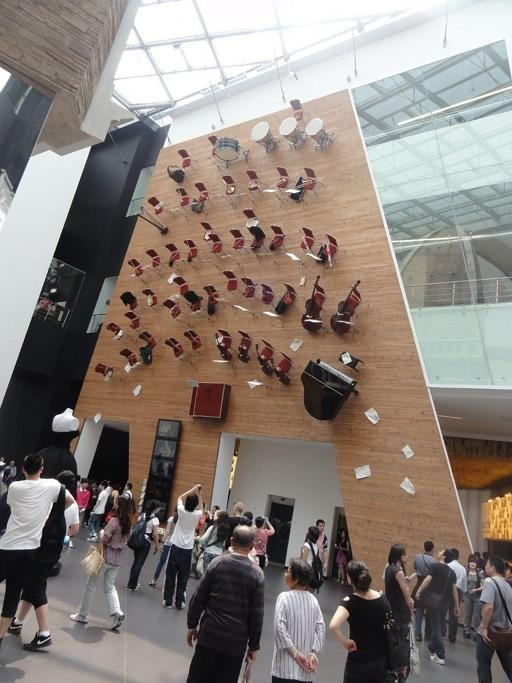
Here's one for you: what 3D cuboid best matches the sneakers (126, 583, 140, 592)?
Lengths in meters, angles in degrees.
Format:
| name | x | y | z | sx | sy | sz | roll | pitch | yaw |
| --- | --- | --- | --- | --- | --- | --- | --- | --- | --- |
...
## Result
| name | x | y | z | sx | sy | sz | roll | pitch | yaw |
| --- | --- | --- | --- | --- | --- | --- | --- | --- | --- |
| sneakers | -1.736 | 3.465 | 5.927 | 0.180 | 0.077 | 0.067 | 10 | -22 | 8 |

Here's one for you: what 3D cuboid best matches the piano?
| name | x | y | z | sx | sy | sz | roll | pitch | yaw |
| --- | --- | --- | --- | --- | --- | --- | --- | --- | --- |
| piano | 1.430 | 0.950 | 8.408 | 1.033 | 1.113 | 0.630 | 3 | -21 | 13 |

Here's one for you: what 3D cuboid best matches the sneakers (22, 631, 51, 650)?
| name | x | y | z | sx | sy | sz | roll | pitch | yaw |
| --- | --- | --- | --- | --- | --- | --- | --- | --- | --- |
| sneakers | -1.608 | 2.194 | 3.099 | 0.185 | 0.123 | 0.184 | 14 | -21 | -16 |

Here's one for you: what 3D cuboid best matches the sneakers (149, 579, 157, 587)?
| name | x | y | z | sx | sy | sz | roll | pitch | yaw |
| --- | --- | --- | --- | --- | --- | --- | --- | --- | --- |
| sneakers | -1.589 | 3.701 | 6.437 | 0.117 | 0.107 | 0.053 | -1 | -17 | 34 |

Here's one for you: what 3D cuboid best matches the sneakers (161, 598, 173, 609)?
| name | x | y | z | sx | sy | sz | roll | pitch | yaw |
| --- | --- | --- | --- | --- | --- | --- | --- | --- | --- |
| sneakers | -1.151 | 3.373 | 5.405 | 0.143 | 0.091 | 0.082 | -6 | -24 | 19 |

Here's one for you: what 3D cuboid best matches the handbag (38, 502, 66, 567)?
| name | x | y | z | sx | sy | sz | roll | pitch | yaw |
| --- | --- | --- | --- | --- | --- | --- | --- | --- | --- |
| handbag | -1.526 | 1.466 | 3.190 | 0.109 | 0.436 | 0.243 | 2 | -22 | 17 |

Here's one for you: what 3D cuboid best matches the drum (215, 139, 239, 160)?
| name | x | y | z | sx | sy | sz | roll | pitch | yaw |
| --- | --- | --- | --- | --- | --- | --- | --- | --- | --- |
| drum | -0.805 | -5.307 | 11.562 | 0.591 | 0.230 | 0.592 | 8 | -25 | 4 |

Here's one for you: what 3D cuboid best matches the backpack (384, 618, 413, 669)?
| name | x | y | z | sx | sy | sz | roll | pitch | yaw |
| --- | --- | --- | --- | --- | --- | --- | --- | --- | --- |
| backpack | 0.834 | 1.768 | 2.503 | 0.193 | 0.193 | 0.078 | 15 | -11 | -19 |

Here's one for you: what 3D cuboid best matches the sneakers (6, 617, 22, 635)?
| name | x | y | z | sx | sy | sz | roll | pitch | yaw |
| --- | --- | --- | --- | --- | --- | --- | --- | --- | --- |
| sneakers | -1.870 | 2.202 | 3.262 | 0.096 | 0.108 | 0.147 | 14 | -21 | -17 |

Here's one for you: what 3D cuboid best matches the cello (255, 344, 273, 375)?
| name | x | y | z | sx | sy | sz | roll | pitch | yaw |
| --- | --- | --- | --- | --- | --- | --- | --- | --- | --- |
| cello | 0.230 | 0.370 | 9.738 | 0.288 | 0.838 | 0.336 | -11 | 10 | 28 |

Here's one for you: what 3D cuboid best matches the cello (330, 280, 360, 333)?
| name | x | y | z | sx | sy | sz | roll | pitch | yaw |
| --- | --- | --- | --- | --- | --- | --- | --- | --- | --- |
| cello | 1.871 | -0.654 | 8.734 | 0.501 | 1.165 | 0.277 | 23 | 14 | 35 |

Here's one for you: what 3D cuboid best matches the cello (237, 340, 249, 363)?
| name | x | y | z | sx | sy | sz | roll | pitch | yaw |
| --- | --- | --- | --- | --- | --- | --- | --- | --- | --- |
| cello | -0.320 | 0.230 | 10.111 | 0.287 | 0.499 | 0.253 | 17 | 24 | 34 |

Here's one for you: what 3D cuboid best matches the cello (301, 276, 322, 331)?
| name | x | y | z | sx | sy | sz | roll | pitch | yaw |
| --- | --- | --- | --- | --- | --- | --- | --- | --- | --- |
| cello | 1.277 | -0.843 | 9.297 | 0.482 | 1.137 | 0.373 | 8 | -1 | 27 |

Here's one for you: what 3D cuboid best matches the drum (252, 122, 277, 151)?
| name | x | y | z | sx | sy | sz | roll | pitch | yaw |
| --- | --- | --- | --- | --- | --- | --- | --- | --- | --- |
| drum | 0.254 | -5.487 | 11.302 | 0.499 | 0.545 | 0.589 | -13 | -29 | 44 |

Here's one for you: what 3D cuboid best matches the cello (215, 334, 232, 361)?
| name | x | y | z | sx | sy | sz | roll | pitch | yaw |
| --- | --- | --- | --- | --- | --- | --- | --- | --- | --- |
| cello | -0.801 | 0.128 | 10.500 | 0.267 | 0.829 | 0.332 | -6 | 5 | -11 |

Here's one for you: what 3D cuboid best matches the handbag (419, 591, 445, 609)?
| name | x | y | z | sx | sy | sz | roll | pitch | yaw |
| --- | --- | --- | --- | --- | --- | --- | --- | --- | --- |
| handbag | 2.082 | 3.022 | 4.927 | 0.244 | 0.169 | 0.088 | -9 | -44 | 34 |

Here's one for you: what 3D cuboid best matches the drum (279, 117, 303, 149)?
| name | x | y | z | sx | sy | sz | roll | pitch | yaw |
| --- | --- | --- | --- | --- | --- | --- | --- | --- | --- |
| drum | 0.946 | -5.385 | 10.838 | 0.477 | 0.629 | 0.522 | 7 | -21 | 3 |
